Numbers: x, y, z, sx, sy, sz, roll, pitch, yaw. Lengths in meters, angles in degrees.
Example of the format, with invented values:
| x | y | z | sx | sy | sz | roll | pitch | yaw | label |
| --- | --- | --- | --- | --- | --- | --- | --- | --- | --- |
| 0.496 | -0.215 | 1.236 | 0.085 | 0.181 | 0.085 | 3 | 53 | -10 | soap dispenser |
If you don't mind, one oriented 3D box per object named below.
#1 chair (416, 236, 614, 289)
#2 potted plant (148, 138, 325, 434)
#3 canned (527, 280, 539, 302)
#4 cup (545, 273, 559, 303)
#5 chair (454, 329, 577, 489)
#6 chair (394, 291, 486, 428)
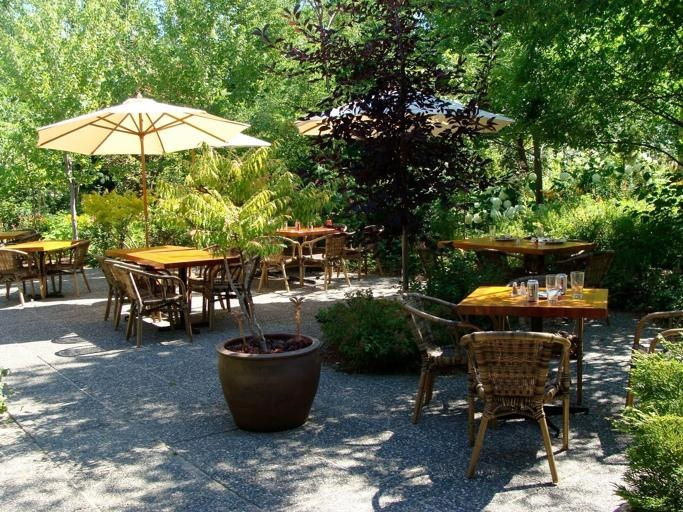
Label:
| x | y | z | sx | sy | sz | roll | pitch | yaw | label |
| --- | --- | --- | --- | --- | --- | --- | --- | --- | --- |
| 2.610 | -0.080 | 7.562 | 1.315 | 0.856 | 1.266 | 6 | 16 | 36 | chair |
| -0.848 | 0.176 | 4.756 | 1.134 | 2.212 | 1.731 | -6 | 10 | -14 | potted plant |
| 1.497 | 0.271 | 4.309 | 0.076 | 0.156 | 0.129 | 1 | 10 | 17 | canned |
| 1.675 | 0.249 | 4.367 | 0.109 | 0.195 | 0.366 | 1 | 9 | 21 | cup |
| 1.173 | 1.062 | 3.713 | 1.007 | 1.038 | 0.870 | 0 | 17 | 16 | chair |
| 0.865 | 0.821 | 4.972 | 1.177 | 1.141 | 1.111 | -2 | 5 | 13 | chair |
